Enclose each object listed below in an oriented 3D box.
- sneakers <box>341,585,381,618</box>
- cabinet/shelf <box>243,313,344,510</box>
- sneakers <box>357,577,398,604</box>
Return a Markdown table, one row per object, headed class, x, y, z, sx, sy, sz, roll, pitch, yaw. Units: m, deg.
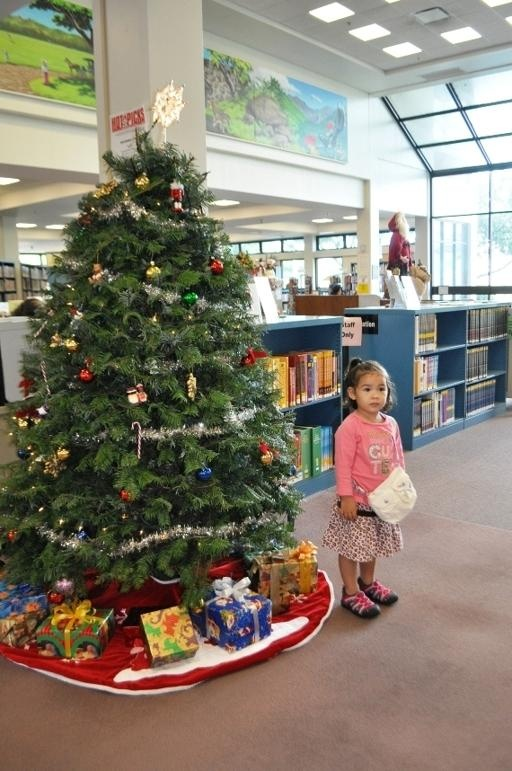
| class | x | y | z | sx | sy | sz | roll | pitch | yaw |
| --- | --- | --- | --- | --- | --- | --- | --- | --- | --- |
| sneakers | 0.372 | 0.762 | 1.949 | 0.124 | 0.058 | 0.062 | 2 | 6 | 42 |
| cabinet/shelf | 0.209 | 0.132 | 2.819 | 0.378 | 1.207 | 1.066 | 1 | 8 | 20 |
| sneakers | 0.452 | 0.748 | 2.045 | 0.131 | 0.058 | 0.066 | 8 | 7 | 32 |
